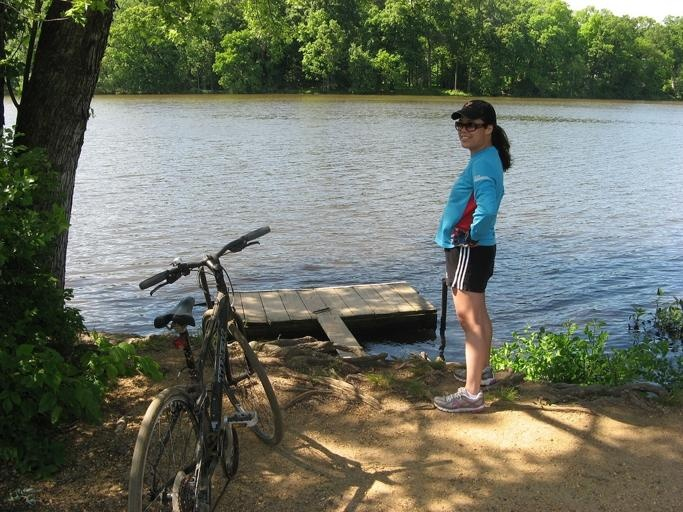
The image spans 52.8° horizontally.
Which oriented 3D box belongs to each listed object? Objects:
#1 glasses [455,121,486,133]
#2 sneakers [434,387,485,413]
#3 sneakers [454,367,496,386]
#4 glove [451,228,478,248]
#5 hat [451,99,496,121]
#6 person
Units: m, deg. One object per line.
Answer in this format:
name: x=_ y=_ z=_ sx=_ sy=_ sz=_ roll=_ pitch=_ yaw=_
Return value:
glasses: x=1.297 y=-1.275 z=6.776 sx=0.159 sy=0.043 sz=0.165 roll=4 pitch=5 yaw=44
sneakers: x=1.203 y=1.480 z=7.109 sx=0.595 sy=0.223 sz=0.205 roll=1 pitch=6 yaw=5
sneakers: x=1.547 y=1.340 z=7.728 sx=0.532 sy=0.202 sz=0.181 roll=2 pitch=7 yaw=6
glove: x=1.177 y=-0.176 z=6.682 sx=0.234 sy=0.147 sz=0.098 roll=22 pitch=21 yaw=28
hat: x=1.349 y=-1.446 z=6.797 sx=0.406 sy=0.176 sz=0.255 roll=11 pitch=10 yaw=-14
person: x=1.322 y=0.011 z=6.982 sx=0.672 sy=3.154 sz=0.753 roll=3 pitch=11 yaw=12
